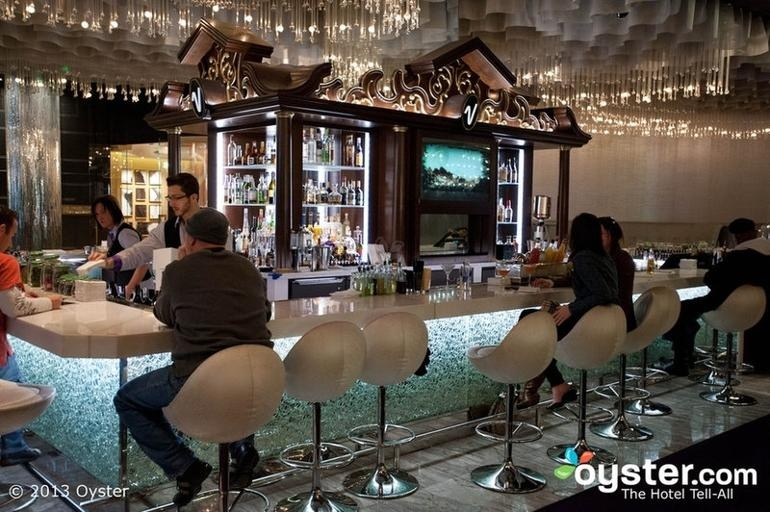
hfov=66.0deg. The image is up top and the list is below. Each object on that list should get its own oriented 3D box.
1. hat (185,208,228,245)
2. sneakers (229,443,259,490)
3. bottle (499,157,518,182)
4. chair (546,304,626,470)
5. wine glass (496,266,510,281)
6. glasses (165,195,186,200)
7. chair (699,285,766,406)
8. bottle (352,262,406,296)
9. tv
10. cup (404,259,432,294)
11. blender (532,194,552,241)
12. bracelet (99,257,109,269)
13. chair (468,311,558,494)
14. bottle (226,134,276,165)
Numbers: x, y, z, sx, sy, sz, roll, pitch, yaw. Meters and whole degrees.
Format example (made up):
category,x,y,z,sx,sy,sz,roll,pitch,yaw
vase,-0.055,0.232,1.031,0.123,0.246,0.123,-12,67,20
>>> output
category,x,y,z,sx,sy,sz,roll,pitch,yaw
hat,-1.173,-0.197,3.947,0.209,0.151,0.271,-6,39,-27
sneakers,-1.037,1.511,4.335,0.157,0.430,0.168,5,16,9
bottle,1.883,-1.301,9.035,0.348,0.387,0.116,-3,9,-25
chair,1.777,1.100,5.232,0.647,1.424,0.528,-4,10,-32
wine glass,1.185,0.170,5.973,0.109,0.084,0.108,0,0,-11
glasses,-1.920,-0.538,5.389,0.235,0.059,0.097,8,11,41
chair,3.998,0.960,6.772,0.571,1.416,1.130,7,10,34
bottle,-0.063,0.213,5.436,0.511,0.245,0.346,-1,9,-15
tv,0.950,-1.116,7.856,1.231,0.760,0.085,-5,11,-37
cup,0.304,0.182,5.526,0.242,0.292,0.262,1,8,0
blender,2.047,-0.425,7.778,0.229,0.711,0.215,5,3,36
bracelet,-2.358,0.063,4.979,0.078,0.095,0.375,-3,9,-24
chair,1.076,1.113,5.054,0.703,1.469,0.890,3,9,16
bottle,-1.641,-1.303,7.328,0.700,0.373,0.240,5,9,26
